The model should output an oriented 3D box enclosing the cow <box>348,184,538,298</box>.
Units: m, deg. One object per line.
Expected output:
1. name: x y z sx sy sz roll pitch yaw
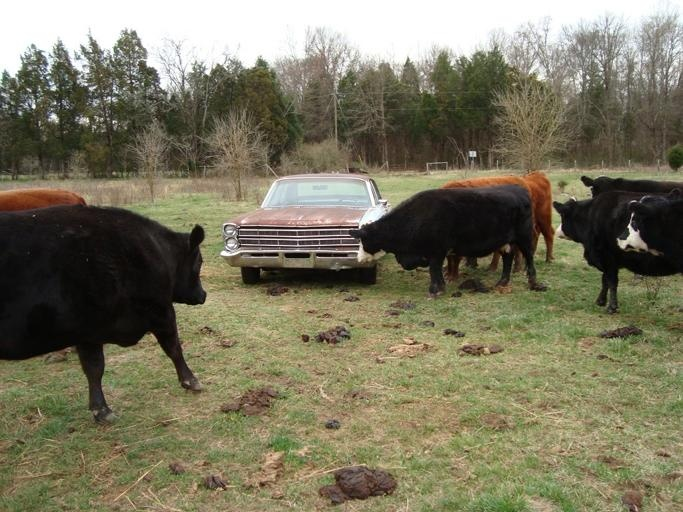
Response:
1. cow: 1.764 -0.243 9.488 3.453 1.702 0.869 -4 8 -22
